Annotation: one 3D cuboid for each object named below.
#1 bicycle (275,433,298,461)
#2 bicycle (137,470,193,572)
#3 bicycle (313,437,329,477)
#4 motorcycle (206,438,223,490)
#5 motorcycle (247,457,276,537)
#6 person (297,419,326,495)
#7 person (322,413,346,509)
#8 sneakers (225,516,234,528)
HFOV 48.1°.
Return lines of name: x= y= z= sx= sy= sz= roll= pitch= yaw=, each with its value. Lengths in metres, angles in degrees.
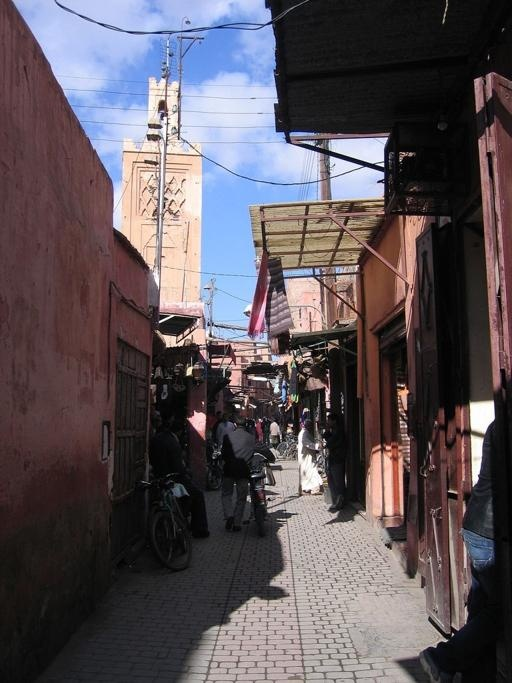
bicycle: x=1.433 y=4.616 z=25.246 sx=1.008 sy=0.936 sz=0.506 roll=17 pitch=-9 yaw=-28
bicycle: x=-1.015 y=1.947 z=6.382 sx=0.519 sy=0.917 sz=1.591 roll=-1 pitch=-5 yaw=-12
bicycle: x=1.507 y=2.837 z=14.187 sx=0.434 sy=0.904 sz=1.232 roll=-1 pitch=-11 yaw=0
motorcycle: x=-1.009 y=3.030 z=14.076 sx=0.460 sy=0.896 sz=1.112 roll=-1 pitch=-10 yaw=2
motorcycle: x=0.083 y=2.045 z=8.091 sx=0.262 sy=0.636 sz=0.815 roll=-1 pitch=1 yaw=1
person: x=1.122 y=2.398 z=11.863 sx=0.487 sy=1.552 sz=1.154 roll=-2 pitch=-4 yaw=6
person: x=1.382 y=2.067 z=10.005 sx=0.390 sy=1.659 sz=0.759 roll=-2 pitch=-3 yaw=8
sneakers: x=-0.372 y=2.575 z=8.239 sx=0.059 sy=0.237 sz=0.082 roll=5 pitch=-12 yaw=3
